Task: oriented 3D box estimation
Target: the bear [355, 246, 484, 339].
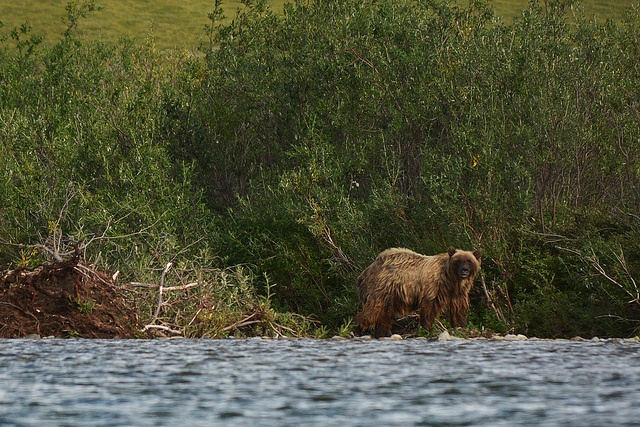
[{"bbox_3d":[2.460,1.928,29.061,3.204,2.323,1.348,-5,-3,29],"label":"bear"}]
